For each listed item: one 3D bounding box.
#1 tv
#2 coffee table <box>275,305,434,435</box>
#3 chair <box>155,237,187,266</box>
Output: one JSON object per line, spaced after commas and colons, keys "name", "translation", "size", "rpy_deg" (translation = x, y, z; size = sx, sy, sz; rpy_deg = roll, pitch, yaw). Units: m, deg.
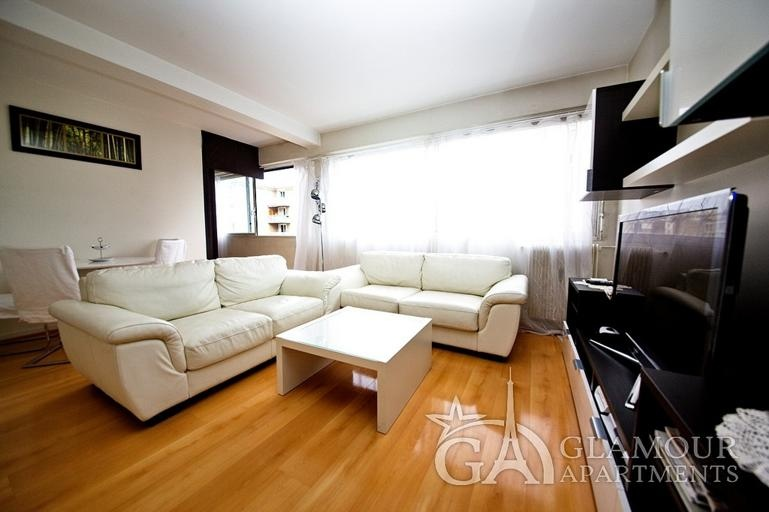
{"name": "tv", "translation": [1.995, 0.309, 3.488], "size": [0.493, 1.423, 1.525], "rpy_deg": [5, 3, 6]}
{"name": "coffee table", "translation": [-0.220, 0.948, 4.329], "size": [1.190, 0.553, 1.227], "rpy_deg": [6, 13, 32]}
{"name": "chair", "translation": [-2.554, -0.045, 5.430], "size": [0.320, 0.422, 0.332], "rpy_deg": [-5, 14, -40]}
